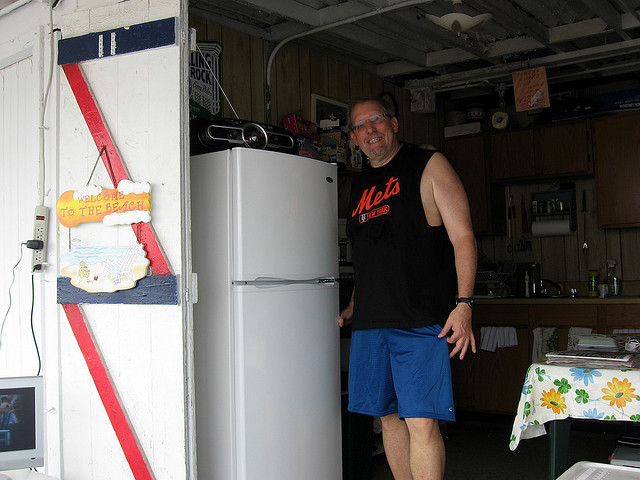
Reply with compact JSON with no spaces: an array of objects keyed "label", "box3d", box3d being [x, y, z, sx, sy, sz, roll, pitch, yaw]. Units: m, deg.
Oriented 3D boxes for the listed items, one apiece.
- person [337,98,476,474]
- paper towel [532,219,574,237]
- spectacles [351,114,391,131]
[{"label":"person","box3d":[0.426,0.222,3.316,0.683,1.404,0.318,-1,1,20]},{"label":"paper towel","box3d":[2.020,-0.111,5.791,0.332,0.150,0.205,-1,1,30]},{"label":"spectacles","box3d":[0.256,-0.613,3.407,0.188,0.064,0.072,-2,1,5]}]
